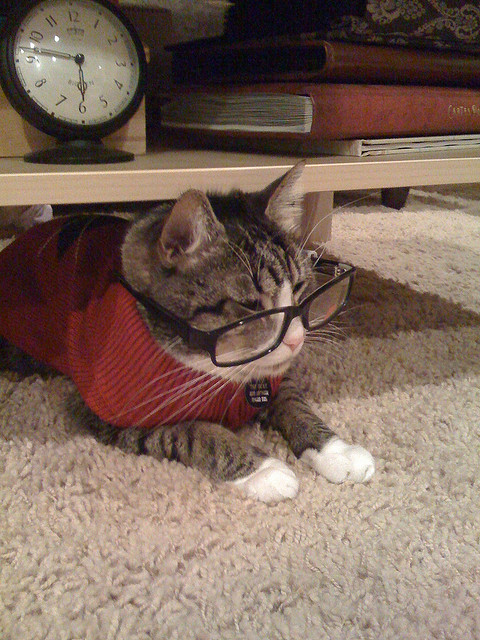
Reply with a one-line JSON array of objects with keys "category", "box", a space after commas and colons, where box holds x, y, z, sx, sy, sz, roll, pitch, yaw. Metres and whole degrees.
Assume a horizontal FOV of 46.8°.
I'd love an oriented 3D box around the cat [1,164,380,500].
[{"category": "cat", "box": [-0.095, -0.062, 0.620, 0.180, 0.291, 0.465, -19, 32, -41]}]
